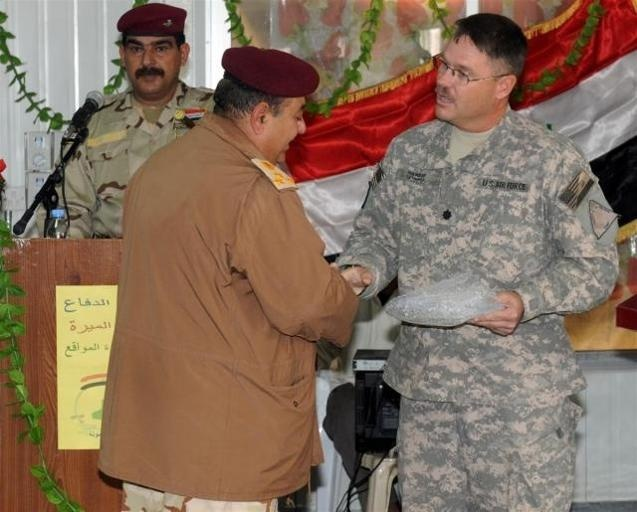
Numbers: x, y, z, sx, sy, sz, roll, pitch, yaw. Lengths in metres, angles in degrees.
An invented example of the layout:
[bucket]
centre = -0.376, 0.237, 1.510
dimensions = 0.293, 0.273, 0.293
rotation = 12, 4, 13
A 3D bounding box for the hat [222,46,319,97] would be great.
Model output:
[hat]
centre = -0.148, -0.585, 2.887
dimensions = 0.198, 0.056, 0.205
rotation = 21, 26, 4

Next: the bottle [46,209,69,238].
[bottle]
centre = -1.008, -0.127, 3.553
dimensions = 0.081, 0.097, 0.318
rotation = -2, 1, -16

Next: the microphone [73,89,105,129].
[microphone]
centre = -0.913, -0.589, 3.682
dimensions = 0.074, 0.083, 0.209
rotation = 9, 47, 26
